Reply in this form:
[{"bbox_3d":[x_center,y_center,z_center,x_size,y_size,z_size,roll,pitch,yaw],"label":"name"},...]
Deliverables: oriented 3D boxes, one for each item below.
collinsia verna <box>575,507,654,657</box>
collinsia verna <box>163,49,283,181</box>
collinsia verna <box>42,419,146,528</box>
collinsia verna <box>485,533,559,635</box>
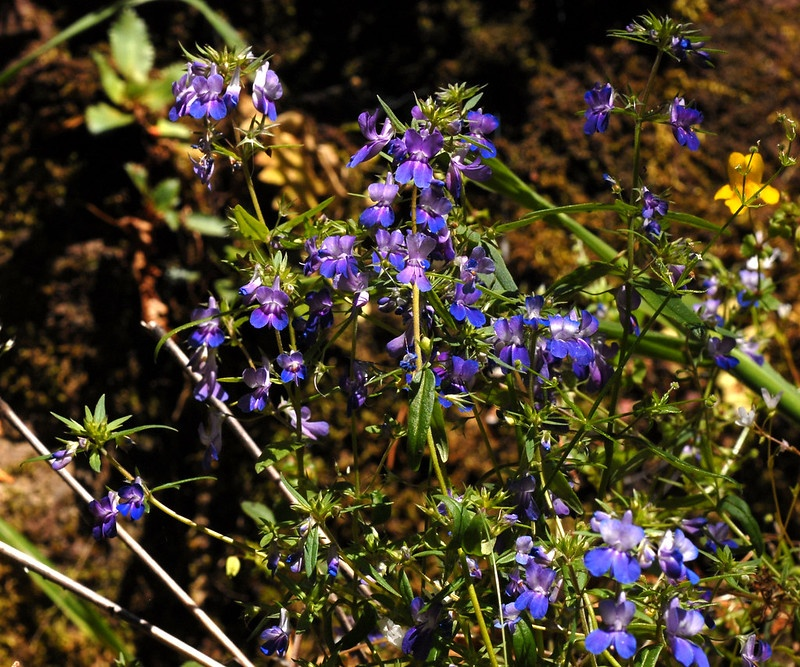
[{"bbox_3d":[0.489,0.561,2.409,0.114,0.369,0.097,7,-7,-4],"label":"collinsia verna"},{"bbox_3d":[-0.441,-0.542,2.720,0.266,0.341,0.201,4,24,-8],"label":"collinsia verna"},{"bbox_3d":[-0.739,0.331,2.728,0.247,0.326,0.261,2,-15,-40],"label":"collinsia verna"},{"bbox_3d":[0.271,0.605,2.627,0.078,0.198,0.185,-6,-3,-21],"label":"collinsia verna"}]
